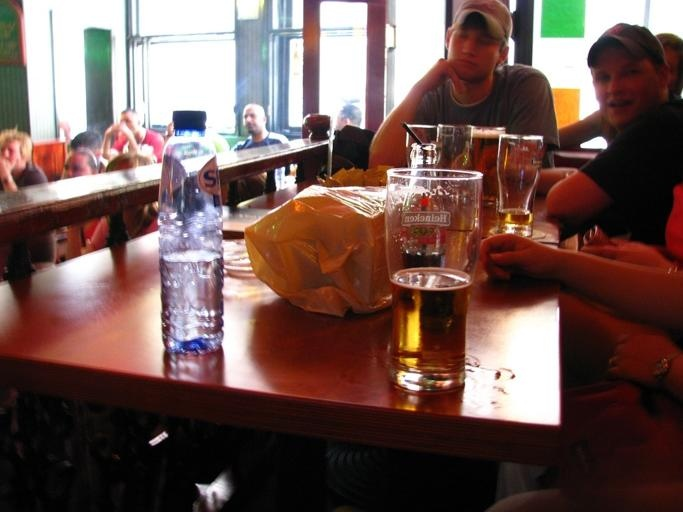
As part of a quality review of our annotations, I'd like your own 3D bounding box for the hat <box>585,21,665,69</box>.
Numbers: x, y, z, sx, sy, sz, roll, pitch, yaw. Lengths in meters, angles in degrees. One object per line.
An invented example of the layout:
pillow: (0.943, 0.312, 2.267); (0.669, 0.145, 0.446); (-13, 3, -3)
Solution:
hat: (1.098, -0.811, 2.159); (0.231, 0.123, 0.167); (25, -4, -26)
